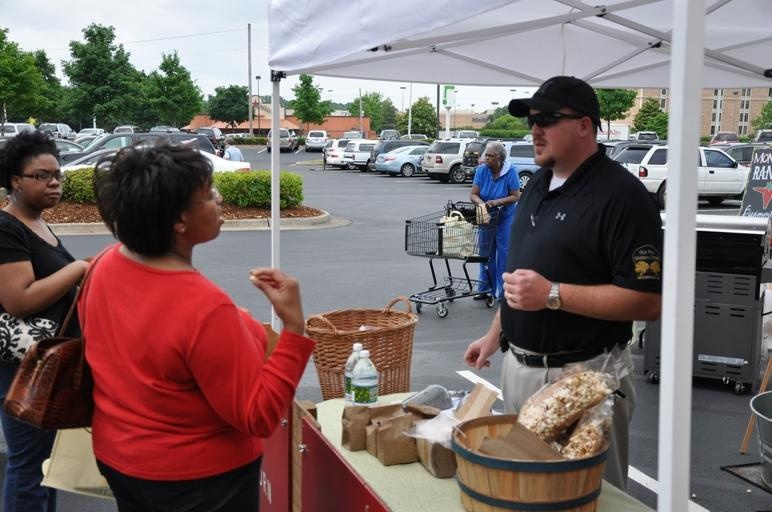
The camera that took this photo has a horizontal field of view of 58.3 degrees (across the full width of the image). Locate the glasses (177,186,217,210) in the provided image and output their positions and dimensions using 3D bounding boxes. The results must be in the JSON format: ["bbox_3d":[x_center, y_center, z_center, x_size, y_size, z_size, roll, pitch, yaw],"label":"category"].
[{"bbox_3d":[-0.819,-0.254,2.986,0.099,0.111,0.126,-25,-10,-33],"label":"glasses"}]

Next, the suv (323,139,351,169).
[{"bbox_3d":[-2.679,-5.161,35.547,1.161,1.007,1.954,-1,14,-5],"label":"suv"}]

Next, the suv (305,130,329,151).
[{"bbox_3d":[-5.071,-8.496,51.174,1.410,1.148,3.088,0,12,1],"label":"suv"}]

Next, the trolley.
[{"bbox_3d":[0.872,0.010,9.125,0.820,1.345,1.255,2,3,39],"label":"trolley"}]

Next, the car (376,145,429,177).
[{"bbox_3d":[0.607,-4.240,31.161,2.485,0.820,1.131,-6,11,-22],"label":"car"}]

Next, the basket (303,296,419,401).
[{"bbox_3d":[-0.115,0.579,4.616,0.760,0.611,0.690,-4,2,33],"label":"basket"}]
